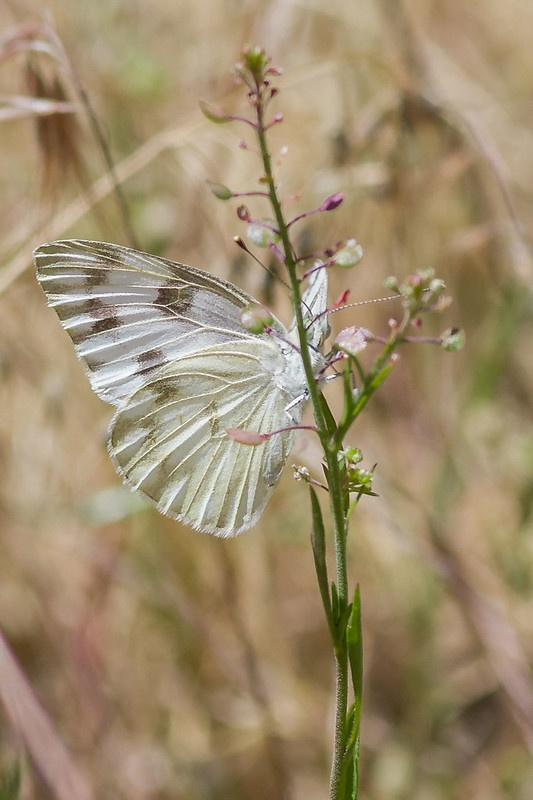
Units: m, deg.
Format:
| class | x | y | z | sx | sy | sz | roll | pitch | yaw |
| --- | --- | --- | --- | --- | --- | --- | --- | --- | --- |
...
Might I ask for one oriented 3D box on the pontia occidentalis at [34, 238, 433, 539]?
| class | x | y | z | sx | sy | sz | roll | pitch | yaw |
| --- | --- | --- | --- | --- | --- | --- | --- | --- | --- |
| pontia occidentalis | -0.029 | -0.010 | 0.892 | 0.193 | 0.309 | 0.137 | -38 | 85 | 7 |
